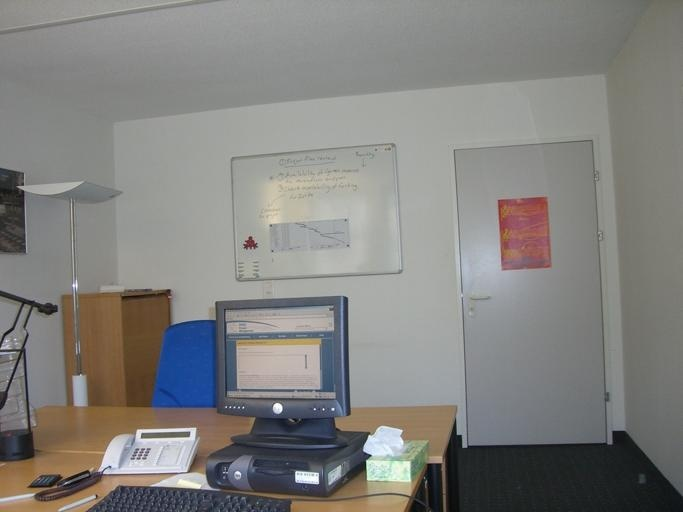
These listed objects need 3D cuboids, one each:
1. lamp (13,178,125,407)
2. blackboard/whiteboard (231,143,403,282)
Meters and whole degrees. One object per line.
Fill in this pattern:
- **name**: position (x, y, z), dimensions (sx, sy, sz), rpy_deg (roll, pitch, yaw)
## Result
- **lamp**: position (-2.035, 0.293, 4.301), dimensions (0.783, 1.689, 0.584), rpy_deg (3, 7, 38)
- **blackboard/whiteboard**: position (-0.143, -0.361, 4.849), dimensions (1.164, 0.883, 0.117), rpy_deg (-1, 0, 10)
